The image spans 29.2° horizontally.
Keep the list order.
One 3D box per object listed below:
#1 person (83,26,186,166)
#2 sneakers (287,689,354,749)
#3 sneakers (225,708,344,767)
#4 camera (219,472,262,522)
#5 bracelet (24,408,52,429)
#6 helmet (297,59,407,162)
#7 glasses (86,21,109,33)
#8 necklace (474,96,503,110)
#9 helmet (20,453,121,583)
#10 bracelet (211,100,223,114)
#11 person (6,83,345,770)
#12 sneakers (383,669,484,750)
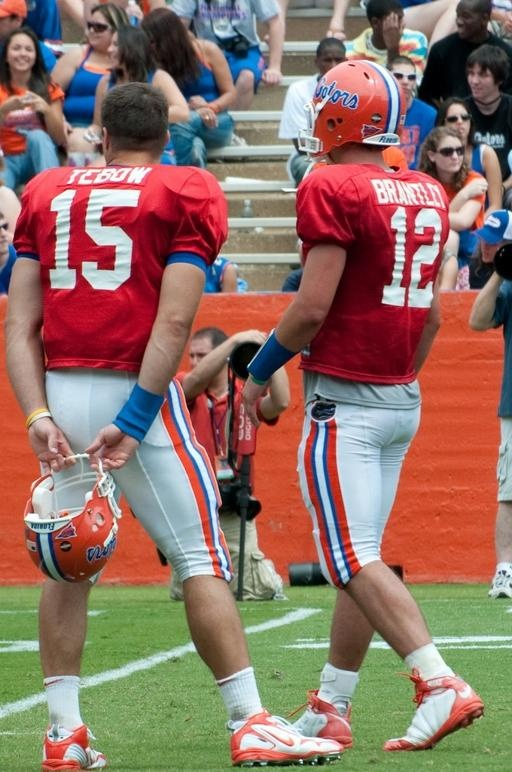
[{"bbox_3d":[-0.870,-2.049,7.100,0.755,1.052,0.629,0,15,21],"label":"person"},{"bbox_3d":[0.162,0.809,2.361,0.176,0.098,0.067,2,-7,24],"label":"sneakers"},{"bbox_3d":[0.040,0.767,2.129,0.281,0.133,0.090,1,-15,-10],"label":"sneakers"},{"bbox_3d":[-0.114,0.609,5.366,0.175,0.137,0.291,2,10,-28],"label":"camera"},{"bbox_3d":[-0.500,0.070,2.231,0.053,0.020,0.045,-31,-8,-1],"label":"bracelet"},{"bbox_3d":[0.257,-0.735,2.610,0.279,0.218,0.204,10,12,35],"label":"helmet"},{"bbox_3d":[-1.238,-2.802,7.640,0.138,0.042,0.134,-3,20,-42],"label":"glasses"},{"bbox_3d":[1.826,-2.210,7.690,0.129,0.153,0.138,-11,19,-28],"label":"necklace"},{"bbox_3d":[-0.409,0.310,2.171,0.204,0.329,0.239,1,15,-12],"label":"helmet"},{"bbox_3d":[-0.337,-2.383,8.362,0.092,0.080,0.112,-2,-4,9],"label":"bracelet"},{"bbox_3d":[-0.284,0.180,2.269,0.562,1.722,0.978,-4,17,-28],"label":"person"},{"bbox_3d":[0.378,0.747,2.187,0.177,0.223,0.165,1,15,-13],"label":"sneakers"}]
